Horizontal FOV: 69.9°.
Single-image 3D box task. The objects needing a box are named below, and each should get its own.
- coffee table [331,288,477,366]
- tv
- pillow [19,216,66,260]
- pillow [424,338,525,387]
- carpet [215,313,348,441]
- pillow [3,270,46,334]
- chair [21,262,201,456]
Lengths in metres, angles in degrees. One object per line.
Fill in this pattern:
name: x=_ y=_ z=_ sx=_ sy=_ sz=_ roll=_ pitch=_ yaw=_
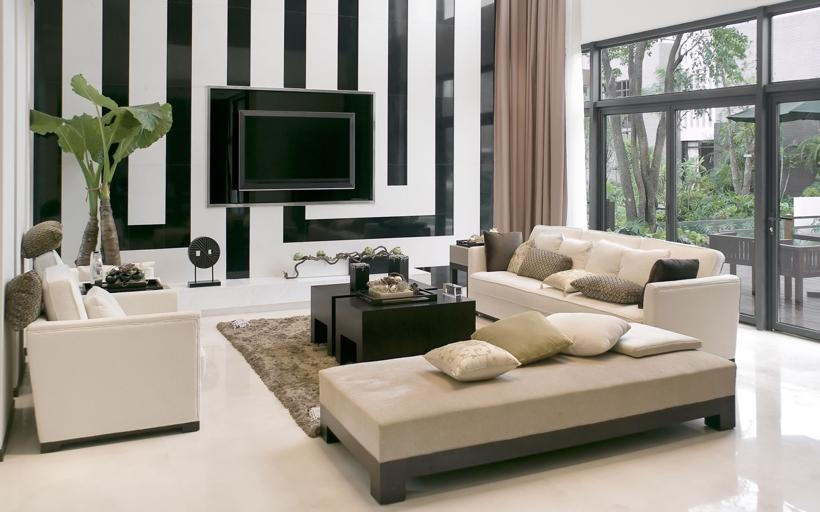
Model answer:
coffee table: x=-0.029 y=0.661 z=5.385 sx=1.256 sy=0.747 sz=0.618 roll=-4 pitch=8 yaw=-20
tv: x=-1.561 y=-1.416 z=7.757 sx=1.221 sy=0.763 sz=0.120 roll=-1 pitch=4 yaw=-21
pillow: x=-3.081 y=-0.130 z=4.909 sx=0.297 sy=0.289 sz=0.370 roll=-8 pitch=11 yaw=-33
pillow: x=0.391 y=0.775 z=4.256 sx=0.698 sy=0.256 sz=0.711 roll=-6 pitch=0 yaw=36
carpet: x=-1.232 y=0.973 z=5.791 sx=0.837 sy=0.065 sz=2.254 roll=-1 pitch=12 yaw=-29
pillow: x=-2.804 y=0.318 z=4.216 sx=0.251 sy=0.392 sz=0.189 roll=-2 pitch=9 yaw=-2
chair: x=-2.472 y=0.710 z=4.936 sx=1.276 sy=1.078 sz=1.703 roll=0 pitch=5 yaw=-25
